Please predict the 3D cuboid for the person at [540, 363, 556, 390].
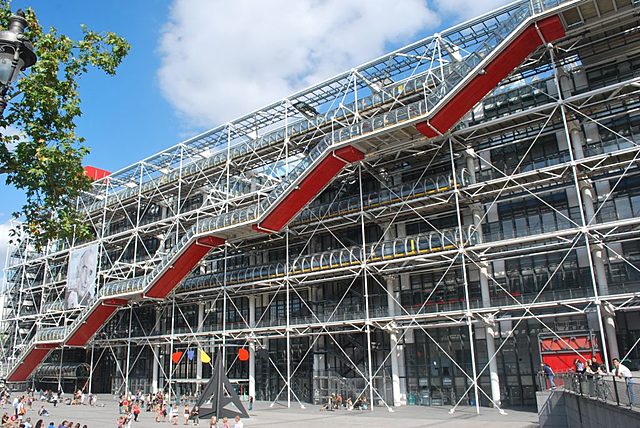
[{"bbox_3d":[11.108,7.769,31.014,0.504,1.293,1.412,-8,-28,16],"label":"person"}]
